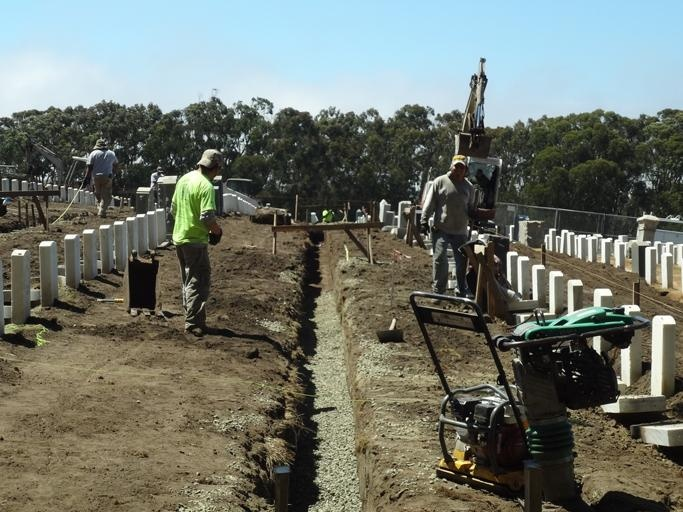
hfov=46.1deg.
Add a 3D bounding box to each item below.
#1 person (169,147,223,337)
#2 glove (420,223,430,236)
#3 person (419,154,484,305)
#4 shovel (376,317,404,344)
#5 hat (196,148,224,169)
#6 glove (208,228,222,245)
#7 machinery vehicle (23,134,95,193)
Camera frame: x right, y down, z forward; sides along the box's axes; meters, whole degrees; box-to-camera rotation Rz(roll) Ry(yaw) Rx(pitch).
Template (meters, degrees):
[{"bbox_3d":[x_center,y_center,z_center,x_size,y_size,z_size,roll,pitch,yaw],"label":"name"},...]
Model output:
[{"bbox_3d":[-2.068,-0.209,11.511,0.697,2.628,1.197,1,5,-13],"label":"person"},{"bbox_3d":[1.297,-0.405,12.405,0.110,0.181,0.061,-3,-3,2],"label":"glove"},{"bbox_3d":[1.634,-0.451,12.374,0.765,2.175,0.772,3,5,14],"label":"person"},{"bbox_3d":[0.740,1.099,11.628,0.318,0.286,0.513,5,6,30],"label":"shovel"},{"bbox_3d":[-1.817,-1.377,11.391,0.230,0.220,0.386,4,4,22],"label":"hat"},{"bbox_3d":[-1.750,-0.265,11.192,0.178,0.207,0.190,4,-3,-16],"label":"glove"},{"bbox_3d":[-12.352,-3.979,35.452,2.704,2.092,1.008,1,10,-30],"label":"machinery vehicle"}]
